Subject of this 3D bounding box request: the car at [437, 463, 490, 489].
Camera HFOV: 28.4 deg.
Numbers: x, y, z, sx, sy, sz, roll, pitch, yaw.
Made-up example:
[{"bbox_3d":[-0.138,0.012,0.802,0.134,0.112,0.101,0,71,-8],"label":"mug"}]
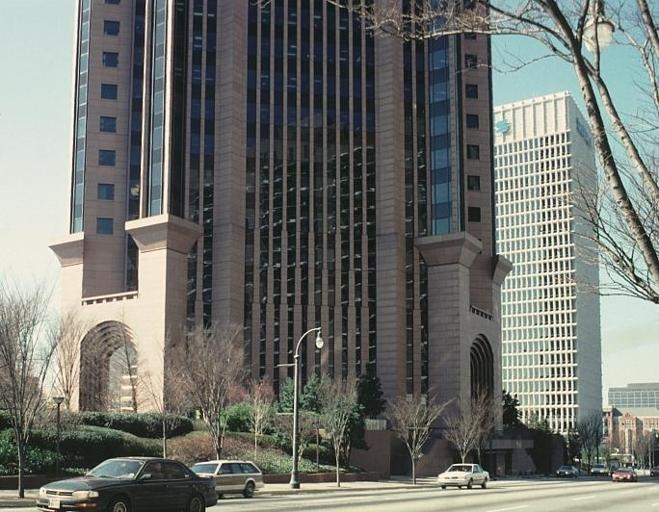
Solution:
[{"bbox_3d":[11.205,18.242,108.777,4.733,2.221,2.644,8,-17,-40],"label":"car"}]
